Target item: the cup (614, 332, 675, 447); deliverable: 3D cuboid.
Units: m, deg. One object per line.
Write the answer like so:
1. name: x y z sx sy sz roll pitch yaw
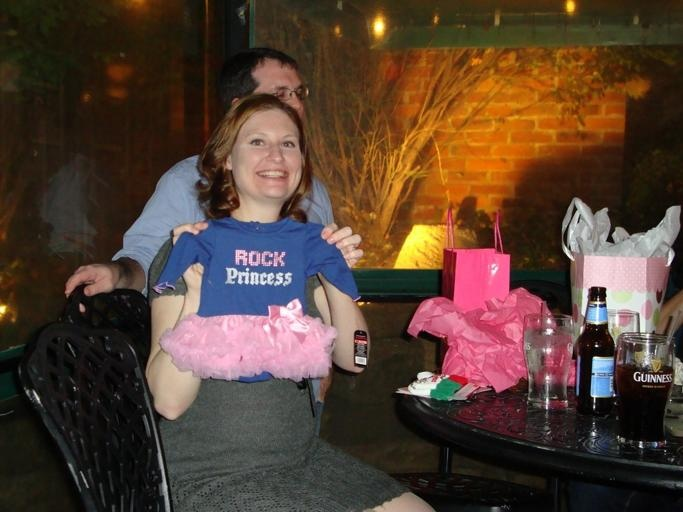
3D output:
1. cup: 0.712 0.324 1.543 0.121 0.248 0.079 4 6 25

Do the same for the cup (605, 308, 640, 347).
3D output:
1. cup: 0.739 0.193 1.762 0.094 0.090 0.094 0 4 0
